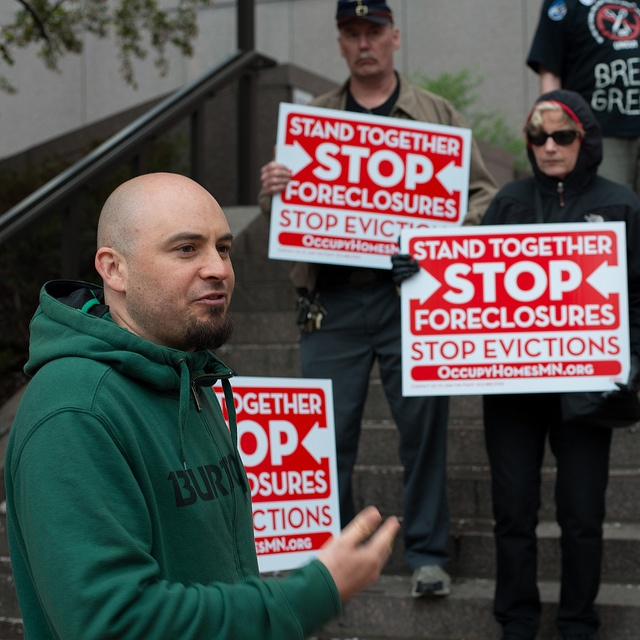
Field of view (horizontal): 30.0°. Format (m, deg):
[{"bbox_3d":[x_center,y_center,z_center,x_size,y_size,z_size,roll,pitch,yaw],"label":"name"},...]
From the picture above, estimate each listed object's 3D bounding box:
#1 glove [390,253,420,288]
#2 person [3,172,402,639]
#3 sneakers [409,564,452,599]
[{"bbox_3d":[0.320,-0.201,4.487,0.117,0.095,0.193,-2,-28,14],"label":"glove"},{"bbox_3d":[-0.374,0.191,2.974,0.846,1.108,0.654,-8,8,-18],"label":"person"},{"bbox_3d":[0.441,1.014,4.667,0.118,0.143,0.047,-1,42,0],"label":"sneakers"}]
